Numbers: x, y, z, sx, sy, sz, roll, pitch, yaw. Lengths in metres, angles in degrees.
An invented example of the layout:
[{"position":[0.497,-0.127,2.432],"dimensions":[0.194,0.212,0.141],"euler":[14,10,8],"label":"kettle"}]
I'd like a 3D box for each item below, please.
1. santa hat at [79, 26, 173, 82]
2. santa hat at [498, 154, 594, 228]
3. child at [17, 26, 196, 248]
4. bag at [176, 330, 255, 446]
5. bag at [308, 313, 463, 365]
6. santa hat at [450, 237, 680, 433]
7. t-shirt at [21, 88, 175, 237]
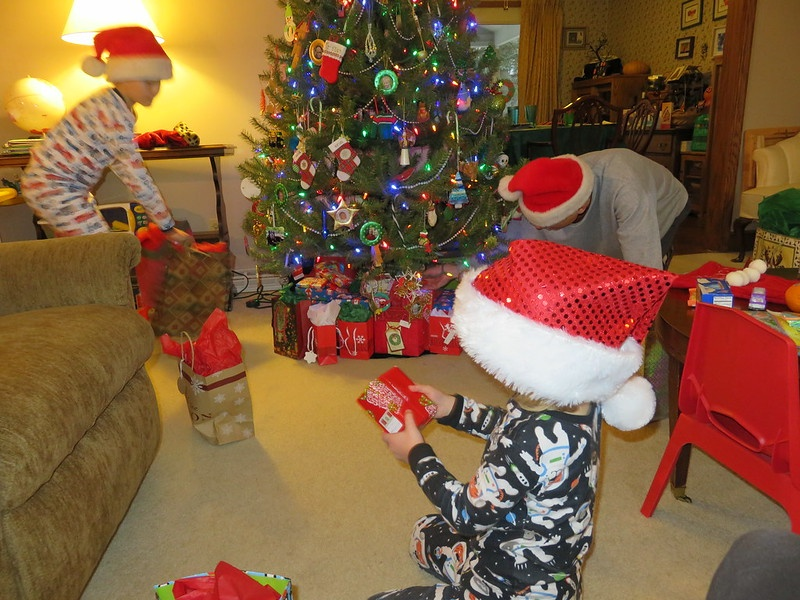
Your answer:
[{"position":[-1.290,-1.188,2.797],"dimensions":[0.354,0.214,0.258],"euler":[-1,28,-6],"label":"santa hat"},{"position":[0.540,-0.407,2.184],"dimensions":[0.353,0.243,0.258],"euler":[4,22,19],"label":"santa hat"},{"position":[-1.618,-0.930,3.135],"dimensions":[0.742,1.240,0.801],"euler":[-12,59,-41],"label":"child"},{"position":[-0.784,0.341,2.483],"dimensions":[0.237,0.457,0.342],"euler":[-7,19,-30],"label":"bag"},{"position":[-0.001,0.203,3.134],"dimensions":[0.602,0.233,0.234],"euler":[-1,37,4],"label":"bag"},{"position":[0.412,0.081,1.558],"dimensions":[0.574,0.460,0.508],"euler":[17,27,29],"label":"santa hat"},{"position":[-1.609,-0.742,3.050],"dimensions":[0.567,0.892,0.597],"euler":[49,37,17],"label":"t-shirt"}]
